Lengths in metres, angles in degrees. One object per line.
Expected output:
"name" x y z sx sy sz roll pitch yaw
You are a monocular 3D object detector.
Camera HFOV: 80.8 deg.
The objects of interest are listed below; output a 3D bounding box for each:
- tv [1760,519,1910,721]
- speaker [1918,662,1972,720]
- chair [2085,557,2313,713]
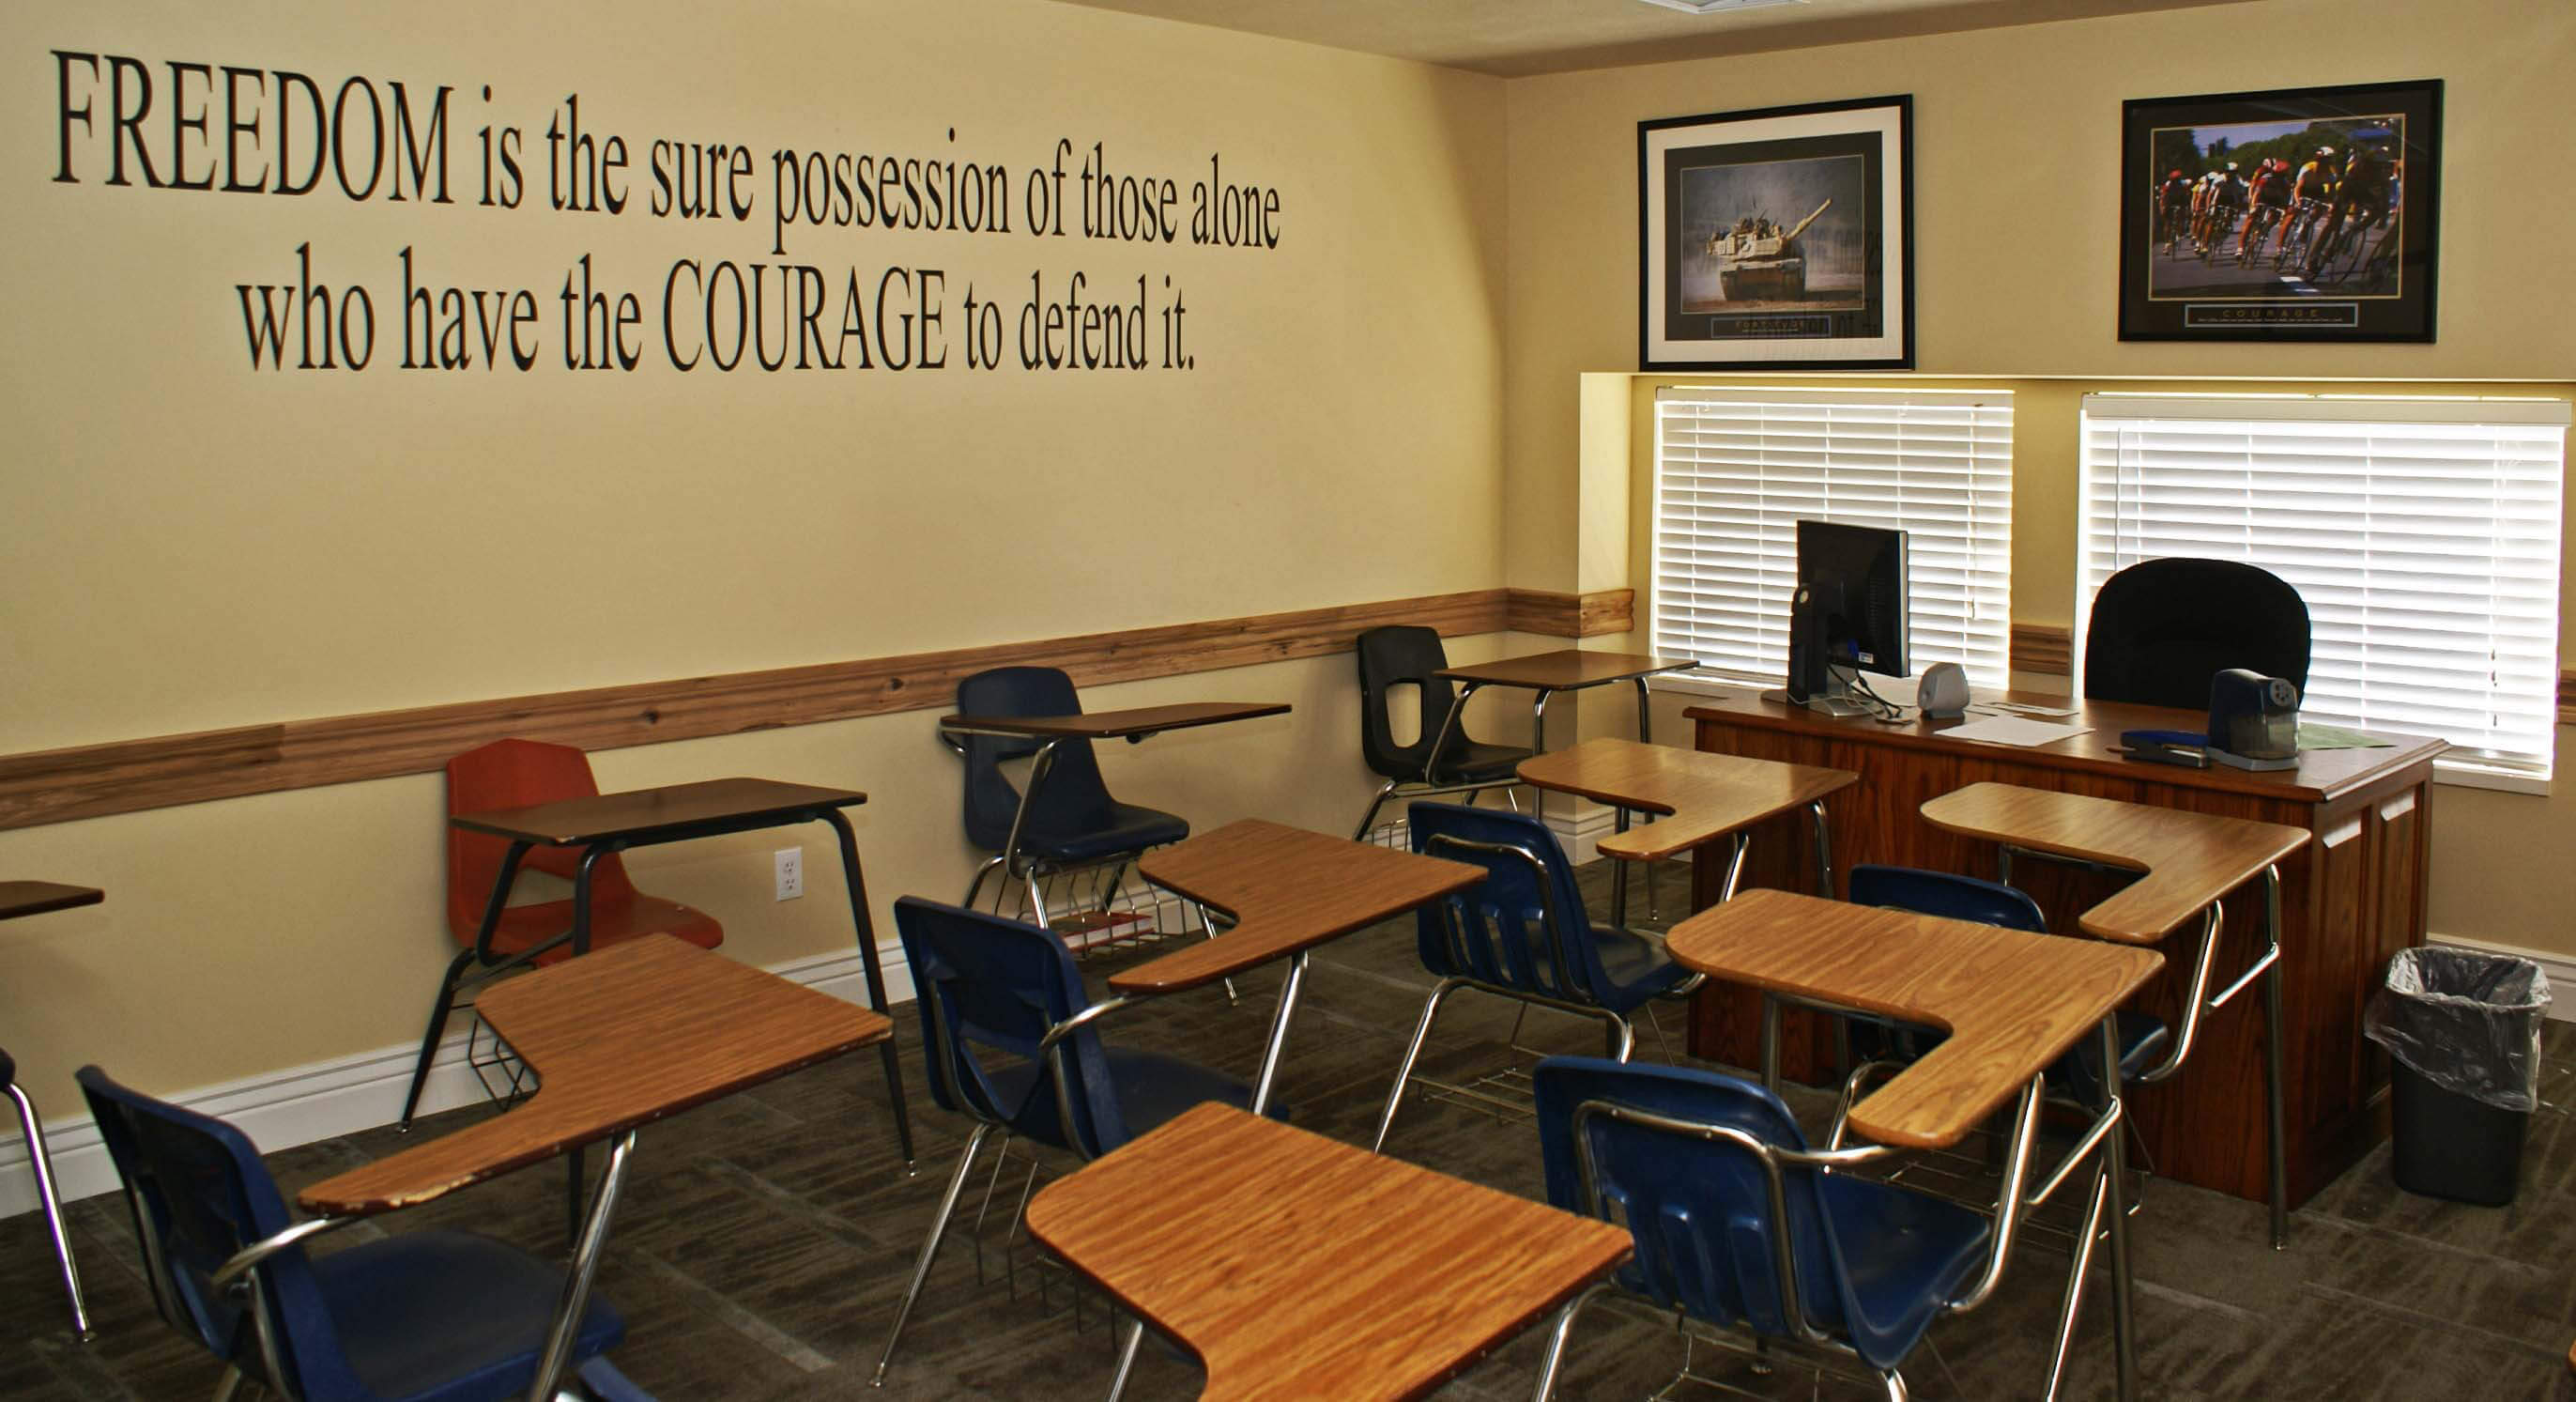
"tv" 2.266 -0.368 6.356 0.321 0.734 0.783 -6 11 -9
"speaker" 2.695 -0.040 6.235 0.261 0.249 0.190 -2 6 0
"chair" 4.010 -0.310 6.862 0.782 0.902 0.835 1 4 32
